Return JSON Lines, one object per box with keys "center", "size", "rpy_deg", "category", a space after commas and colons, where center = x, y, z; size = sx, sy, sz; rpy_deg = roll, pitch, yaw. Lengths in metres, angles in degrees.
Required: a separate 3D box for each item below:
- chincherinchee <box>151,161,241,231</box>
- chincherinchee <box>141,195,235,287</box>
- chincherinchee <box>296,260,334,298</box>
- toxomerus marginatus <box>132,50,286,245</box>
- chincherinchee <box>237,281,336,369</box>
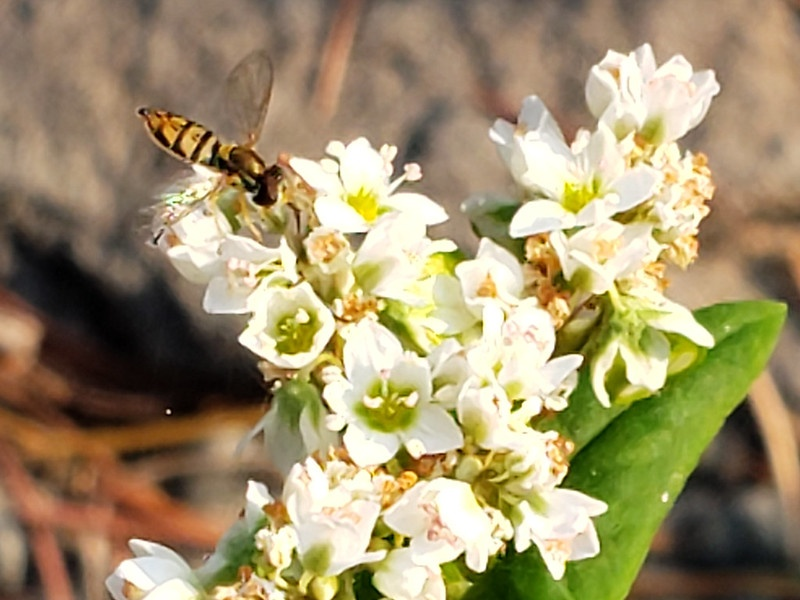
{"center": [-0.423, -0.220, 2.208], "size": [0.158, 0.052, 0.167], "rpy_deg": [-25, 16, 14], "category": "chincherinchee"}
{"center": [-0.404, -0.103, 2.083], "size": [0.146, 0.056, 0.156], "rpy_deg": [32, 85, 23], "category": "chincherinchee"}
{"center": [-0.157, -0.057, 2.049], "size": [0.056, 0.028, 0.096], "rpy_deg": [-34, 25, 16], "category": "chincherinchee"}
{"center": [-0.356, -0.312, 2.168], "size": [0.349, 0.423, 0.347], "rpy_deg": [-13, 24, -31], "category": "toxomerus marginatus"}
{"center": [-0.208, 0.052, 1.992], "size": [0.147, 0.078, 0.173], "rpy_deg": [32, 89, -3], "category": "chincherinchee"}
